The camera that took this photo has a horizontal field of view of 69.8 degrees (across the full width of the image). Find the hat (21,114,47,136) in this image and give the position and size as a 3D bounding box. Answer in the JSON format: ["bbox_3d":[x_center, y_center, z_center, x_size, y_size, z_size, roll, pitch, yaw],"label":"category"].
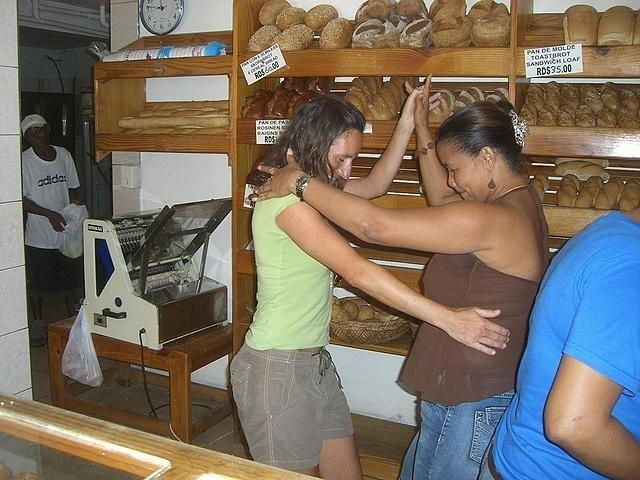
[{"bbox_3d":[-2.750,-1.103,4.414,0.197,0.188,0.317,-8,14,-32],"label":"hat"}]

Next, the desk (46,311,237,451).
[{"bbox_3d":[-1.110,0.887,2.992,1.050,0.619,0.744,5,1,17],"label":"desk"}]

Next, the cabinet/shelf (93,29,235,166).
[{"bbox_3d":[-0.967,-0.907,2.928,0.983,0.780,0.501,4,14,17],"label":"cabinet/shelf"}]
